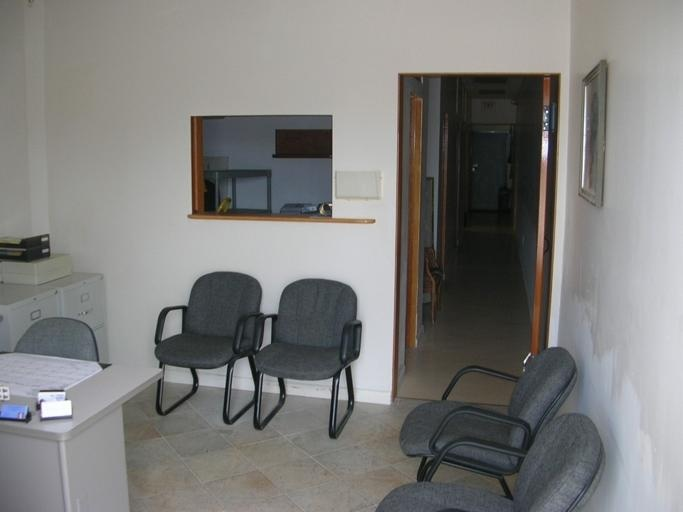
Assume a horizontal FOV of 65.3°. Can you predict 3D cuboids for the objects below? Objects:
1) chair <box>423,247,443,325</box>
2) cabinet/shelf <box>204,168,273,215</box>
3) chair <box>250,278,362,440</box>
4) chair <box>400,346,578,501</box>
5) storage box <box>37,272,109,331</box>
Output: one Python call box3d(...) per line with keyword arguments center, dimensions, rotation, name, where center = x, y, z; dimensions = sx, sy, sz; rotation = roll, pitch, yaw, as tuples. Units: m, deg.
box3d(center=(1.072, 0.302, 6.296), dimensions=(0.243, 0.754, 0.546), rotation=(-1, -4, 10), name="chair")
box3d(center=(-1.470, -0.963, 7.968), dimensions=(0.871, 0.662, 0.535), rotation=(2, 3, 0), name="cabinet/shelf")
box3d(center=(-0.275, 0.758, 4.072), dimensions=(0.699, 1.119, 0.749), rotation=(4, 5, 18), name="chair")
box3d(center=(0.801, 0.928, 3.018), dimensions=(0.799, 0.992, 0.723), rotation=(8, 9, 9), name="chair")
box3d(center=(-2.259, 0.369, 4.663), dimensions=(0.364, 0.660, 0.647), rotation=(2, 7, 10), name="storage box")
